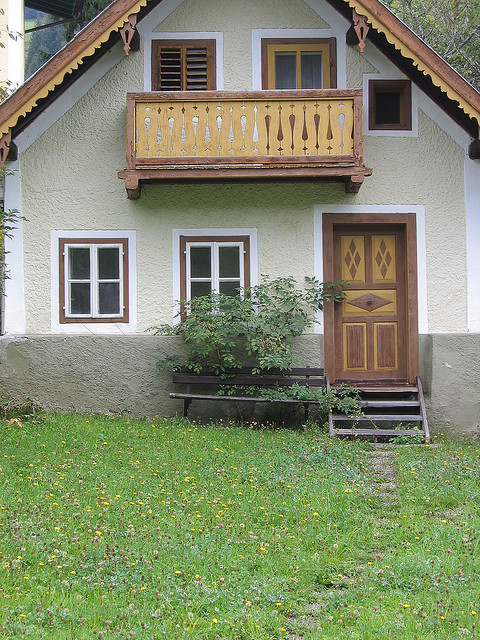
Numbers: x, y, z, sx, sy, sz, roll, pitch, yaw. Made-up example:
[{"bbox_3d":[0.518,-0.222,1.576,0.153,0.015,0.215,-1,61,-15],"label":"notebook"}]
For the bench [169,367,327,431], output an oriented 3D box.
[{"bbox_3d":[0.106,1.011,9.292,2.029,0.779,0.826,0,-3,7],"label":"bench"}]
